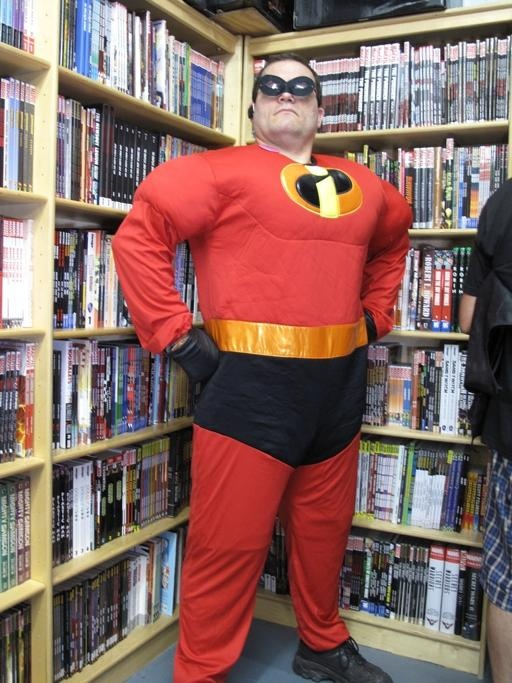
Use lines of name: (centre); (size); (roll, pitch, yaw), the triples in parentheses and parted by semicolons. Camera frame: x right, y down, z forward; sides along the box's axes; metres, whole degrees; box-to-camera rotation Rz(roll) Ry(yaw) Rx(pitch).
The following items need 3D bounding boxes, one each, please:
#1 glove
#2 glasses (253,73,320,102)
glove: (-0.144, 0.034, 1.298); (0.064, 0.134, 0.126); (6, 7, 45)
glasses: (0.078, -0.637, 1.395); (0.092, 0.029, 0.091); (2, -11, 1)
